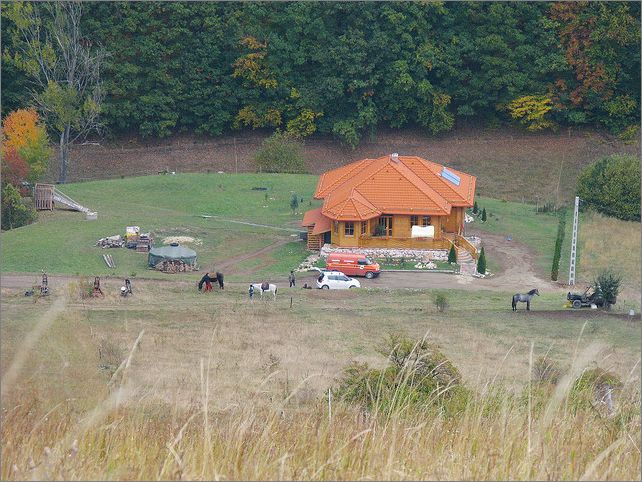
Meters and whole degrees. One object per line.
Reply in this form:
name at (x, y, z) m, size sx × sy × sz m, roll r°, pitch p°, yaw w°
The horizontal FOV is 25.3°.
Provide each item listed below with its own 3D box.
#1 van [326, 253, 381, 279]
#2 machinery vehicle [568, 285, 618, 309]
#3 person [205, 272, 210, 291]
van at (4.239, 3.749, 184.948) m, size 5.788 × 2.974 × 3.239 m, roll 1°, pitch 10°, yaw 4°
machinery vehicle at (33.058, 7.440, 175.740) m, size 4.344 × 2.470 × 2.910 m, roll 2°, pitch 0°, yaw 4°
person at (-13.926, 5.423, 176.092) m, size 0.895 × 2.064 × 1.270 m, roll 1°, pitch 11°, yaw 6°
